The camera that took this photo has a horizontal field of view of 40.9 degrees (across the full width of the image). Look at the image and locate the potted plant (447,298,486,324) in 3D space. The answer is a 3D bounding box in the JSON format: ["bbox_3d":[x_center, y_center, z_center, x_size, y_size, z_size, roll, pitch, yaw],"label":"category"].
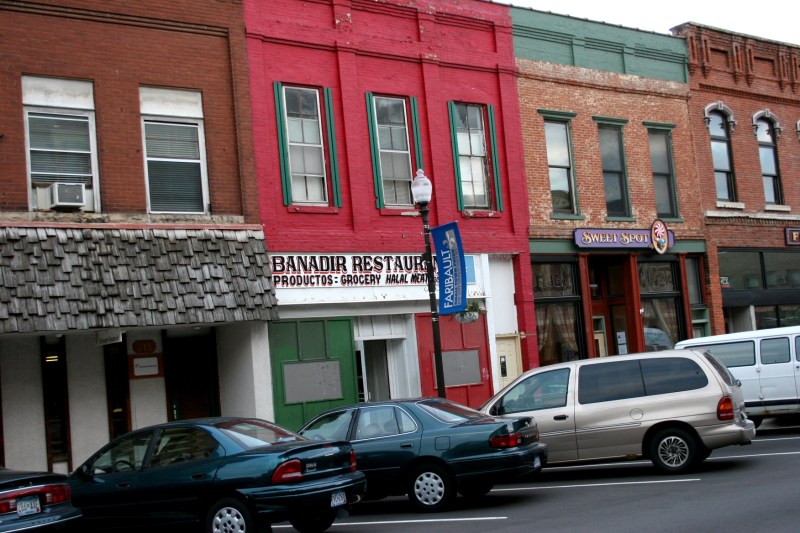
[{"bbox_3d":[1.772,1.113,27.844,0.783,0.363,0.712,2,-11,-9],"label":"potted plant"}]

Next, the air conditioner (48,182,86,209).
[{"bbox_3d":[-7.693,-1.649,24.733,0.682,0.584,0.372,-2,-7,-29],"label":"air conditioner"}]
